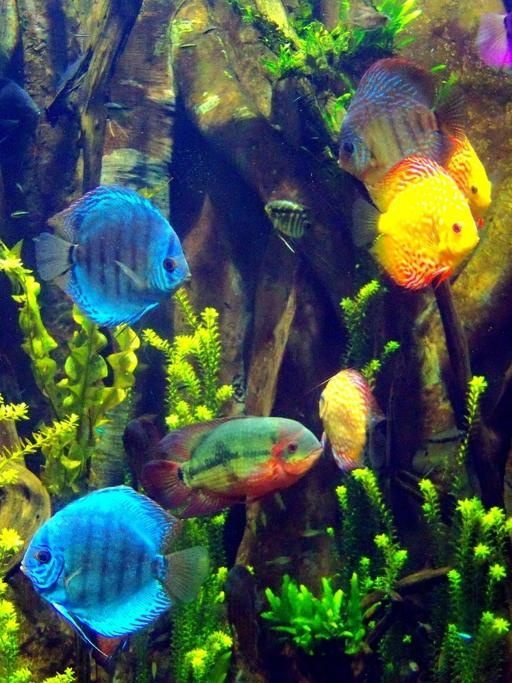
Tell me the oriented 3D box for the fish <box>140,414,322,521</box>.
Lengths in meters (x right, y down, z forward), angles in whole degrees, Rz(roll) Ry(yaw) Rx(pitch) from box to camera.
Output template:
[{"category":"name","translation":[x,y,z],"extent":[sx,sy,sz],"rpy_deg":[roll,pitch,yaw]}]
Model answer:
[{"category":"fish","translation":[-0.098,0.441,2.621],"extent":[0.614,0.360,0.149],"rpy_deg":[-13,-4,6]}]

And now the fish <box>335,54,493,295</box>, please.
[{"category":"fish","translation":[0.533,-0.603,2.445],"extent":[0.499,0.607,0.450],"rpy_deg":[-9,3,8]}]

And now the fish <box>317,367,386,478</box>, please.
[{"category":"fish","translation":[0.352,0.293,2.714],"extent":[0.243,0.304,0.163],"rpy_deg":[-9,3,12]}]

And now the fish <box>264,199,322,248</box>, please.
[{"category":"fish","translation":[0.149,-0.581,3.567],"extent":[0.168,0.220,0.276],"rpy_deg":[-12,4,-43]}]

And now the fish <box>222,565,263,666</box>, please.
[{"category":"fish","translation":[-0.060,1.184,3.180],"extent":[0.132,0.392,0.239],"rpy_deg":[-9,3,0]}]

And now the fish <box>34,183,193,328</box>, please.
[{"category":"fish","translation":[-0.516,-0.303,2.579],"extent":[0.513,0.510,0.170],"rpy_deg":[1,18,-7]}]
